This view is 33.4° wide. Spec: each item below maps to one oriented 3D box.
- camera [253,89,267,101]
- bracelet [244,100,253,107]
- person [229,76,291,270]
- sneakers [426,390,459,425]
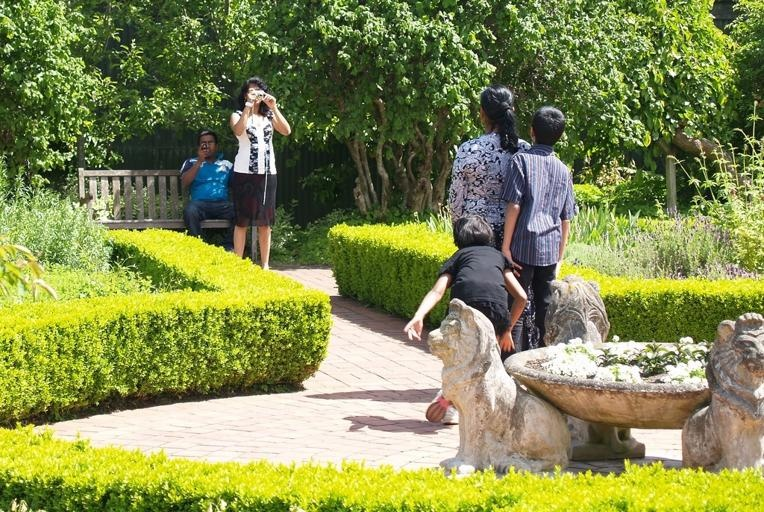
[{"bbox_3d":[-1.609,-2.094,16.634,0.125,0.080,0.158,1,14,1],"label":"camera"},{"bbox_3d":[-1.739,-1.968,16.598,0.098,0.076,0.156,0,0,-5],"label":"bracelet"},{"bbox_3d":[-1.709,-1.088,16.803,0.724,2.507,0.802,-3,-4,38],"label":"person"},{"bbox_3d":[0.625,1.612,13.252,0.266,0.383,0.155,-9,-26,1],"label":"sneakers"}]
